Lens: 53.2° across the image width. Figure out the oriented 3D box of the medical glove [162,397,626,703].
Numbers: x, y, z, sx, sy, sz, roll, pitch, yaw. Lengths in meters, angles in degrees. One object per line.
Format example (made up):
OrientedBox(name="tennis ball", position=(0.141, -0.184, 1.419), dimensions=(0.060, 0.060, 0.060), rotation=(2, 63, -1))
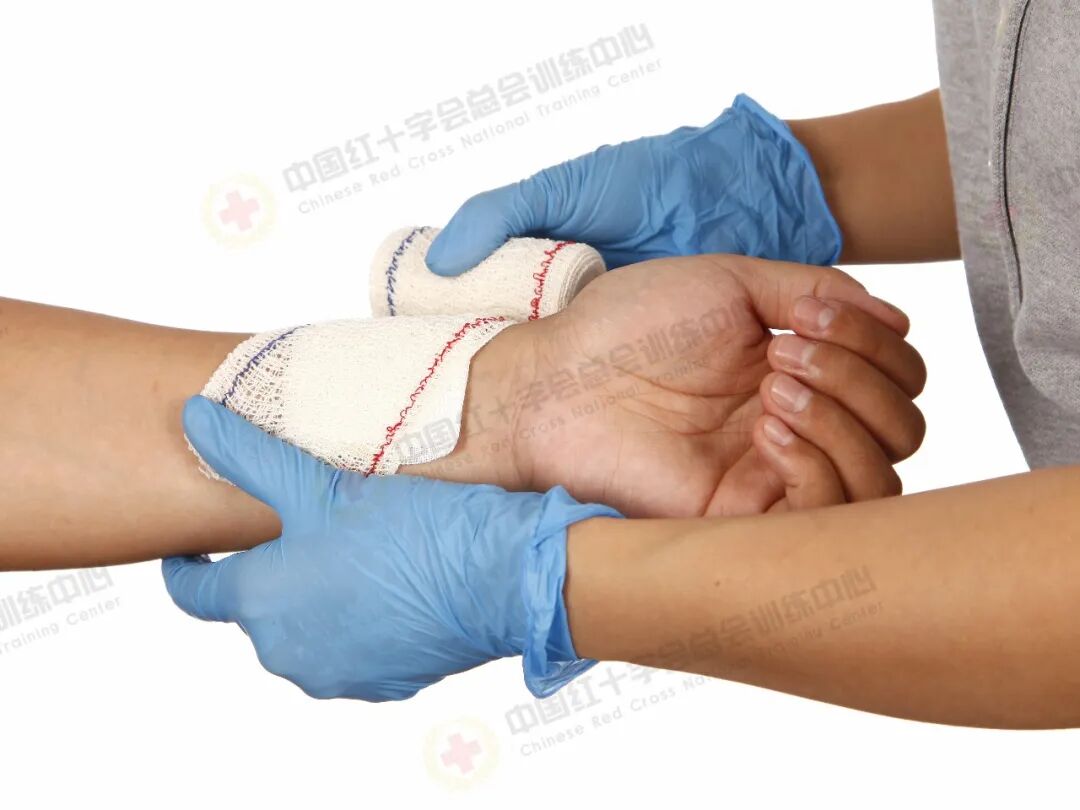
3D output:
OrientedBox(name="medical glove", position=(-0.338, 0.308, 2.055), dimensions=(0.840, 0.448, 0.446), rotation=(8, 57, 25))
